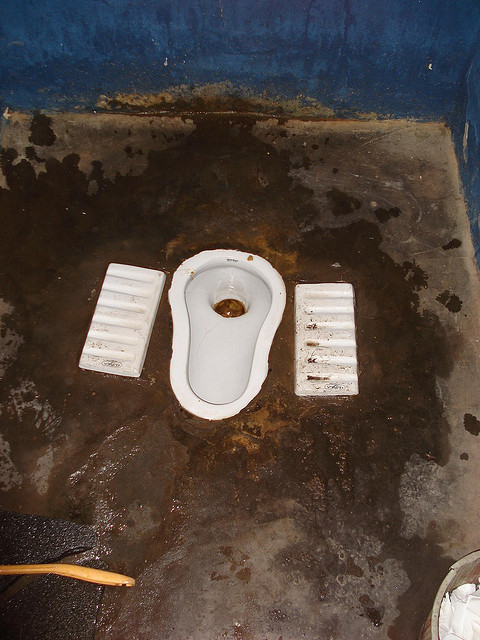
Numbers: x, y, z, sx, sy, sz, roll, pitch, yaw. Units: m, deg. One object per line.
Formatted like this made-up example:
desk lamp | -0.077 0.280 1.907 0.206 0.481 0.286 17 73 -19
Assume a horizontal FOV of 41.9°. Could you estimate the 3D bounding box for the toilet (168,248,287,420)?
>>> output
toilet | -0.087 0.066 3.050 0.591 0.301 0.790 5 75 3
